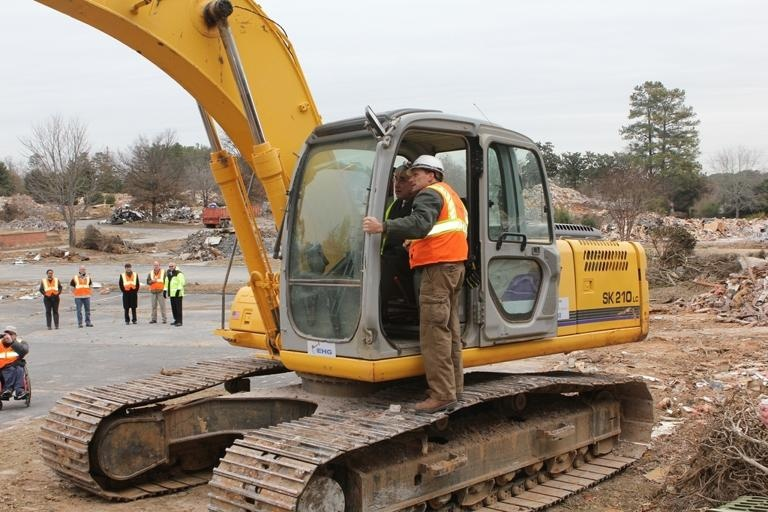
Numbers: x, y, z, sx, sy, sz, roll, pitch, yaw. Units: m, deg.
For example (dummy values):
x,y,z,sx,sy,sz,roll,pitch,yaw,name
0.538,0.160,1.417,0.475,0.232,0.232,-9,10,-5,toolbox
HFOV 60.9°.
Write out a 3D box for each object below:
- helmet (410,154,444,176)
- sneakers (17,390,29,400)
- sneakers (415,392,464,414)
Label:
x,y,z,sx,sy,sz,roll,pitch,yaw,name
0.467,-0.957,6.831,0.320,0.137,0.230,17,-7,-13,helmet
-5.849,2.245,10.608,0.217,0.082,0.071,-23,-20,13,sneakers
0.561,1.501,6.619,0.452,0.185,0.163,4,-7,-12,sneakers
